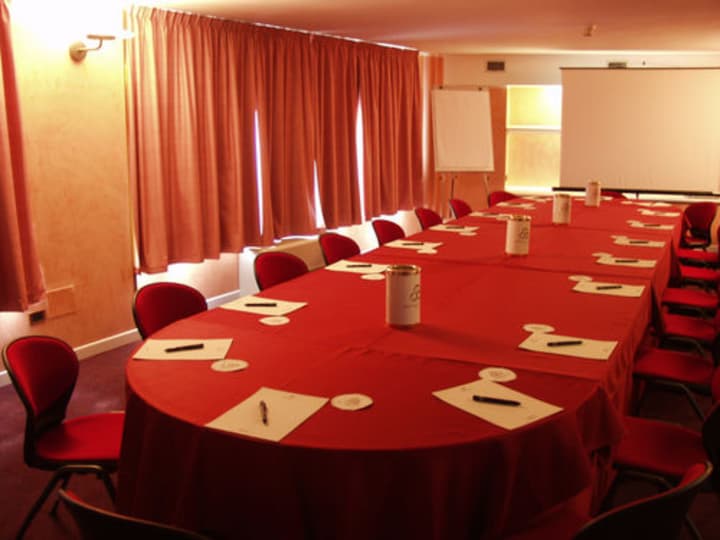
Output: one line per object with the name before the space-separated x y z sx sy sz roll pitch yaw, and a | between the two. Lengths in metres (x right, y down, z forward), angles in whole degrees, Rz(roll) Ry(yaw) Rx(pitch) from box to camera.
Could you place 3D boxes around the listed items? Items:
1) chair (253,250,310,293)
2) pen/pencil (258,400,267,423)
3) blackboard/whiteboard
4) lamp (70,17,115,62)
chair | -0.528 -0.014 3.497 0.275 0.376 0.293 13 19 41
pen/pencil | -0.297 0.433 1.674 0.018 0.019 0.075 -12 22 -7
blackboard/whiteboard | 1.447 -2.029 7.831 1.243 1.554 0.102 -4 2 -24
lamp | -1.852 -1.625 3.908 0.484 0.280 0.251 13 17 39
